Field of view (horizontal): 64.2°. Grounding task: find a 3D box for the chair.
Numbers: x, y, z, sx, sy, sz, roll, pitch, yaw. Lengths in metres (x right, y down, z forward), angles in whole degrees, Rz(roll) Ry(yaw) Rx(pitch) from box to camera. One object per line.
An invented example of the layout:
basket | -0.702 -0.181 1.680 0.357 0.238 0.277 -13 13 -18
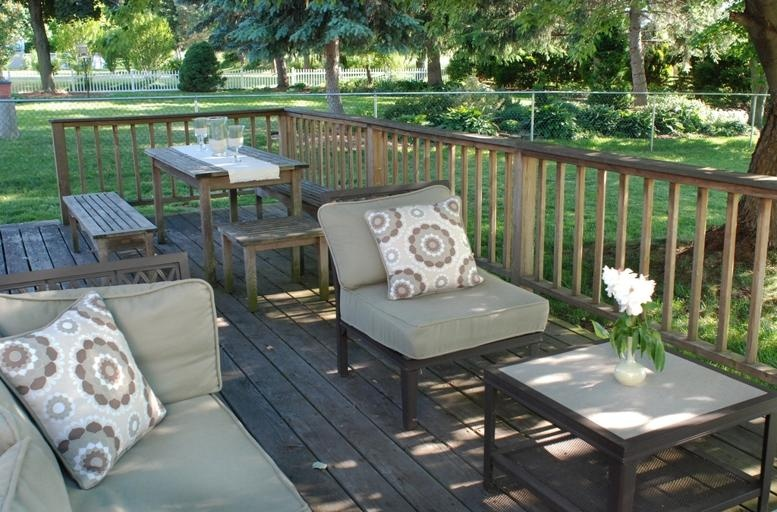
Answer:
chair | 0.197 0.169 3.673 1.233 1.224 1.202 -11 19 -33

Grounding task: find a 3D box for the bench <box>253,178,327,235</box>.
bench | -0.824 -0.427 5.198 0.216 0.251 0.720 -9 21 -28
